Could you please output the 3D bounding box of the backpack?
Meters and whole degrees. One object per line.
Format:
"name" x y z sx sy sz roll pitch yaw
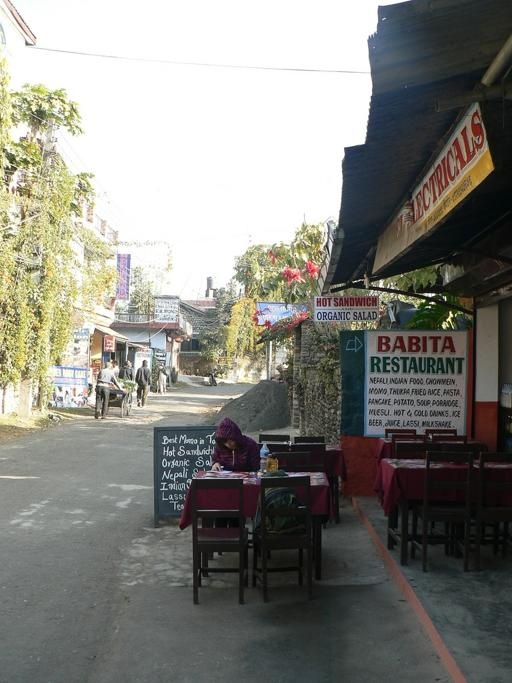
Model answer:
"backpack" 0.203 1.342 4.884 0.432 0.485 0.524 1 -4 -4

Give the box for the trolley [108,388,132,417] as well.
"trolley" -5.300 2.356 22.765 0.682 1.042 1.876 1 -4 -6

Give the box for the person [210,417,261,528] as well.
"person" -0.253 1.432 6.217 0.483 1.207 0.512 1 4 9
